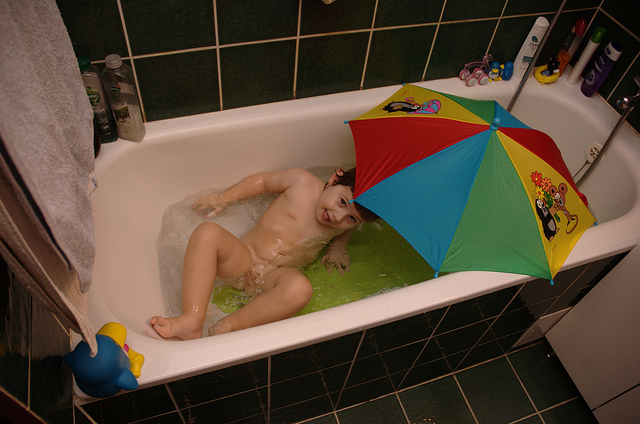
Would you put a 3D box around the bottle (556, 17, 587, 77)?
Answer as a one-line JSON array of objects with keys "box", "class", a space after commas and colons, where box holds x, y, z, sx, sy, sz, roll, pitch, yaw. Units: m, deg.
[{"box": [1.111, -0.722, 1.994, 0.070, 0.260, 0.107, -19, 54, -22], "class": "bottle"}]

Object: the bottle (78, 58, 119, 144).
[{"box": [-0.739, -0.375, 1.531, 0.067, 0.257, 0.094, 0, 52, -8], "class": "bottle"}]

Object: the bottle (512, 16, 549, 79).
[{"box": [0.914, -0.710, 1.949, 0.083, 0.247, 0.081, 3, 48, -4], "class": "bottle"}]

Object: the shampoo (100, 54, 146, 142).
[{"box": [-0.704, -0.398, 1.584, 0.098, 0.307, 0.082, 10, 43, 2], "class": "shampoo"}]

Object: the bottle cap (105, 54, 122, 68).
[{"box": [-0.694, -0.505, 1.481, 0.051, 0.033, 0.052, -15, 50, -17], "class": "bottle cap"}]

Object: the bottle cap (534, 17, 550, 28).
[{"box": [0.935, -0.791, 1.858, 0.057, 0.029, 0.043, 13, 48, 8], "class": "bottle cap"}]

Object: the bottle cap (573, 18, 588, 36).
[{"box": [1.128, -0.802, 1.916, 0.050, 0.060, 0.077, 24, 50, 17], "class": "bottle cap"}]

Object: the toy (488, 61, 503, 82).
[{"box": [0.772, -0.617, 1.952, 0.062, 0.076, 0.033, 0, 14, 3], "class": "toy"}]

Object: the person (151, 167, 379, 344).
[{"box": [-0.128, 0.160, 1.623, 0.706, 0.334, 0.719, 6, 47, 1], "class": "person"}]

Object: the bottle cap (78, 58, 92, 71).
[{"box": [-0.771, -0.480, 1.447, 0.030, 0.030, 0.036, -14, 50, -16], "class": "bottle cap"}]

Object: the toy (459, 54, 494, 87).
[{"box": [0.713, -0.627, 1.987, 0.143, 0.074, 0.196, 16, 40, 31], "class": "toy"}]

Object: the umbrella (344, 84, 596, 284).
[{"box": [0.559, -0.203, 1.556, 0.849, 0.283, 0.879, 4, 52, -4], "class": "umbrella"}]

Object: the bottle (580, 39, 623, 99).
[{"box": [1.194, -0.598, 1.887, 0.074, 0.222, 0.075, 2, 48, -2], "class": "bottle"}]
